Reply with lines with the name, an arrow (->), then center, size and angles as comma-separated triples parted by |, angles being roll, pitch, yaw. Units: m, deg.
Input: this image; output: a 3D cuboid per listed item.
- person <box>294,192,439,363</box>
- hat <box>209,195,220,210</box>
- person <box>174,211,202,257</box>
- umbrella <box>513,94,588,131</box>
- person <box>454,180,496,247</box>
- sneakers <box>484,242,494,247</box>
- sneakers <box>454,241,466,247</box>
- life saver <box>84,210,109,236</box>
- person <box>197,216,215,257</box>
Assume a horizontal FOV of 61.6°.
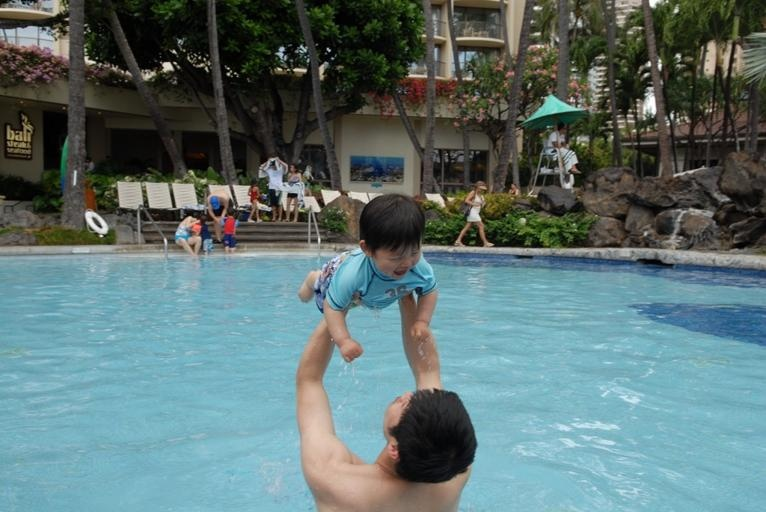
person -> -0.050, 0.071, 4.769 | 0.695, 0.951, 1.444 | -7, 16, -17
hat -> -4.138, -1.302, 15.892 | 0.231, 0.331, 0.098 | -4, 16, 7
person -> -4.575, -0.486, 15.258 | 0.568, 0.852, 0.983 | -5, 7, -38
umbrella -> 5.248, -4.136, 18.971 | 1.572, 0.565, 1.504 | -9, 5, -33
person -> 2.397, -1.066, 16.786 | 0.962, 1.636, 1.298 | 0, 6, 8
sneakers -> 2.717, -0.276, 16.523 | 0.241, 0.099, 0.139 | -1, 2, 38
sneakers -> 1.992, -0.293, 16.755 | 0.357, 0.146, 0.119 | 2, 20, 3
life saver -> -7.327, -0.827, 16.437 | 0.529, 0.658, 0.797 | -3, 6, -24
person -> -4.210, -0.480, 15.261 | 0.322, 0.966, 0.303 | -6, -14, 10
